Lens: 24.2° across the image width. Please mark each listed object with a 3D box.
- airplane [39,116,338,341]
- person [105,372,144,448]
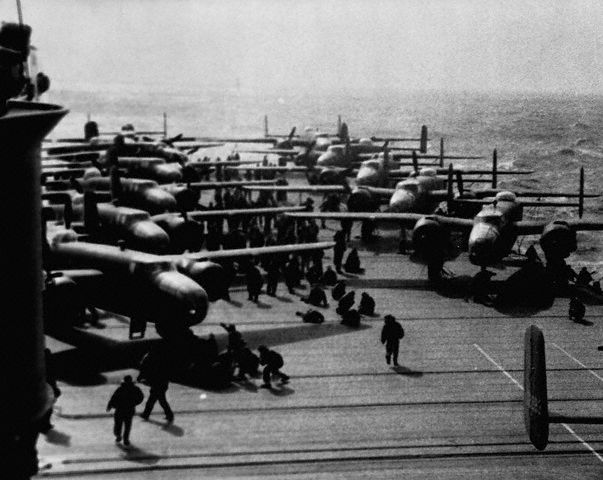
[{"bbox_3d":[-4.900,-0.428,61.541,10.433,3.002,9.363,-4,19,-24],"label":"airplane"},{"bbox_3d":[-5.734,5.380,45.151,0.998,2.222,1.034,-2,11,-17],"label":"person"}]
